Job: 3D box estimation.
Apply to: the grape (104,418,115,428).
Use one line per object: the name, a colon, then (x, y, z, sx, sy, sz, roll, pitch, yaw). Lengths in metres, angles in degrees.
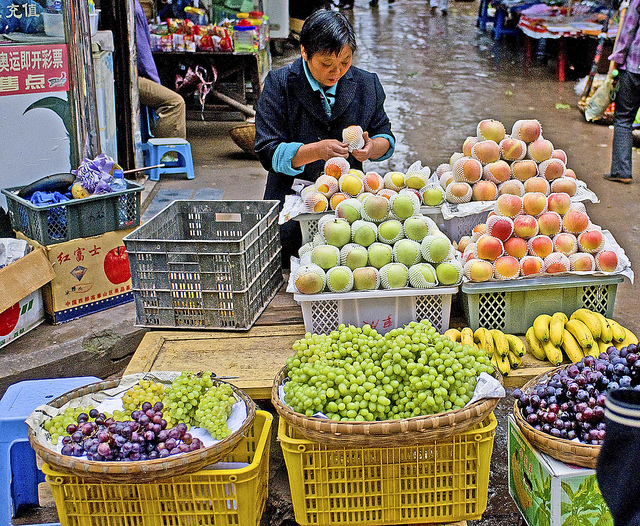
grape: (-0.847, 0.647, 2.973, 0.034, 0.031, 0.028, 2, 27, 26)

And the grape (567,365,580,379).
grape: (1.078, 0.466, 3.131, 0.032, 0.039, 0.046, -1, -12, 1)

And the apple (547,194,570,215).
apple: (1.160, -0.284, 3.613, 0.087, 0.104, 0.092, -8, 1, -21)

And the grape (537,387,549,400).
grape: (0.942, 0.556, 3.107, 0.032, 0.040, 0.045, -1, 5, -18)

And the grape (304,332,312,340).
grape: (-0.050, 0.315, 3.173, 0.021, 0.024, 0.026, -1, -10, 33)

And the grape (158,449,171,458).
grape: (-0.606, 0.746, 2.858, 0.024, 0.028, 0.032, -2, -2, -35)

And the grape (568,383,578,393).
grape: (1.045, 0.520, 3.034, 0.031, 0.021, 0.034, -14, 37, -11)

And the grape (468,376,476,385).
grape: (0.609, 0.476, 2.947, 0.019, 0.017, 0.035, -9, 23, 12)

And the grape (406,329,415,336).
grape: (0.371, 0.287, 3.020, 0.019, 0.023, 0.021, -1, 17, -1)

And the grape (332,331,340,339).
grape: (0.073, 0.307, 3.103, 0.023, 0.027, 0.025, -1, 41, 0)

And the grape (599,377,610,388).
grape: (1.170, 0.497, 3.028, 0.031, 0.031, 0.040, 0, 22, 20)

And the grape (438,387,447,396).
grape: (0.485, 0.508, 2.879, 0.021, 0.033, 0.017, 0, -17, -18)

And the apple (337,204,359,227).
apple: (0.138, -0.238, 3.582, 0.091, 0.094, 0.098, 17, 5, 12)

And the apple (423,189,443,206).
apple: (0.577, -0.332, 3.756, 0.073, 0.059, 0.074, -1, -26, 35)

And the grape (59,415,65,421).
grape: (-1.056, 0.639, 3.013, 0.015, 0.015, 0.016, 2, 0, -8)

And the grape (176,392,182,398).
grape: (-0.581, 0.546, 3.033, 0.019, 0.023, 0.020, -32, 32, 14)

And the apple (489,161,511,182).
apple: (0.919, -0.468, 3.789, 0.084, 0.097, 0.088, -23, 15, -17)

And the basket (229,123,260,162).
basket: (-0.873, -1.429, 8.342, 0.275, 0.239, 0.306, -3, 15, 9)

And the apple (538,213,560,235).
apple: (1.091, -0.184, 3.504, 0.085, 0.121, 0.097, -6, 4, 14)

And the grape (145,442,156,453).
grape: (-0.670, 0.732, 2.906, 0.034, 0.036, 0.011, 45, 7, 28)

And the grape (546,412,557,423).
grape: (0.944, 0.634, 2.999, 0.034, 0.040, 0.034, -1, 4, -1)

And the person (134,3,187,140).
person: (-1.758, -2.126, 8.125, 0.470, 1.476, 1.643, -4, 22, -10)

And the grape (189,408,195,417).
grape: (-0.529, 0.623, 3.041, 0.019, 0.023, 0.028, -2, -6, -3)

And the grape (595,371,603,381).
grape: (1.153, 0.476, 3.044, 0.026, 0.038, 0.029, -1, -3, 1)

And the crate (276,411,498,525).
crate: (0.287, 0.882, 2.942, 0.804, 0.480, 0.766, -2, 15, 2)

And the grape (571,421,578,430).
grape: (1.030, 0.661, 2.977, 0.021, 0.016, 0.025, -1, 55, 14)

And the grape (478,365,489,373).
grape: (0.665, 0.434, 2.997, 0.025, 0.014, 0.025, 14, 26, 40)

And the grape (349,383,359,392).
grape: (0.133, 0.496, 2.902, 0.019, 0.020, 0.036, 10, 55, 47)

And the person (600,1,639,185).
person: (3.020, -1.667, 7.284, 0.361, 1.765, 0.581, 8, 22, 21)

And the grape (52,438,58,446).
grape: (-1.061, 0.716, 2.930, 0.019, 0.012, 0.021, -5, 44, -10)

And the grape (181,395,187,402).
grape: (-0.561, 0.563, 3.032, 0.018, 0.030, 0.020, -2, 22, -8)

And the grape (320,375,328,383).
grape: (0.015, 0.468, 2.937, 0.023, 0.025, 0.021, 2, 1, -7)

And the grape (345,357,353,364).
grape: (0.118, 0.400, 3.007, 0.022, 0.021, 0.020, 12, -28, -22)

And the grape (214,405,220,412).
grape: (-0.420, 0.598, 3.001, 0.015, 0.017, 0.015, 1, -14, 41)

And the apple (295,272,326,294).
apple: (-0.042, 0.094, 3.326, 0.098, 0.061, 0.098, 13, 39, 11)

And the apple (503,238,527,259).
apple: (0.921, -0.070, 3.467, 0.083, 0.099, 0.087, 6, -5, 4)

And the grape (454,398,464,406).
grape: (0.547, 0.552, 2.894, 0.024, 0.027, 0.025, 20, 42, 31)

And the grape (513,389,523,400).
grape: (0.855, 0.583, 3.192, 0.038, 0.034, 0.033, -44, 35, -1)

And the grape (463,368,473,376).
grape: (0.593, 0.442, 2.947, 0.020, 0.041, 0.019, -35, -16, 22)

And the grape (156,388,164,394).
grape: (-0.683, 0.543, 3.108, 0.021, 0.015, 0.023, 0, 19, -1)

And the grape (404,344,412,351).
grape: (0.357, 0.341, 2.946, 0.018, 0.026, 0.020, -6, 18, 6)

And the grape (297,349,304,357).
grape: (-0.082, 0.382, 3.083, 0.024, 0.034, 0.026, -1, 4, 0)

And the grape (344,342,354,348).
grape: (0.118, 0.342, 3.043, 0.022, 0.022, 0.022, 17, -16, -23)

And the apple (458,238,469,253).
apple: (0.717, -0.088, 3.726, 0.046, 0.070, 0.062, 4, -28, 1)

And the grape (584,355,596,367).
grape: (1.159, 0.426, 3.162, 0.029, 0.035, 0.042, 1, 3, 7)

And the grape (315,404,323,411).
grape: (-0.003, 0.576, 2.906, 0.023, 0.021, 0.019, -21, 27, 7)

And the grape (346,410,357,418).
grape: (0.118, 0.591, 2.866, 0.025, 0.017, 0.029, -2, 16, 7)

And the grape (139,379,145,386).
grape: (-0.761, 0.514, 3.144, 0.017, 0.026, 0.018, 14, -5, -17)

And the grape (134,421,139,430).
grape: (-0.734, 0.654, 2.941, 0.019, 0.029, 0.015, 0, -8, -33)

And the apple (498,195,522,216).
apple: (0.913, -0.276, 3.543, 0.086, 0.104, 0.093, -4, 9, -11)

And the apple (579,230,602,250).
apple: (1.276, -0.105, 3.461, 0.077, 0.092, 0.084, 7, 11, 18)

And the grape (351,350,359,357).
grape: (0.142, 0.374, 3.002, 0.024, 0.029, 0.035, -1, -2, 4)

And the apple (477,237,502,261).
apple: (0.788, -0.065, 3.423, 0.093, 0.113, 0.099, 1, 6, 5)

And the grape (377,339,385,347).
grape: (0.250, 0.329, 3.011, 0.024, 0.030, 0.026, -8, 49, 46)

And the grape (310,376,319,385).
grape: (-0.022, 0.472, 2.948, 0.023, 0.020, 0.033, -1, 18, 7)

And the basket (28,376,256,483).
basket: (-0.722, 0.728, 2.969, 0.881, 0.226, 0.481, 2, 23, 5)

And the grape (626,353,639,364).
grape: (1.291, 0.404, 3.040, 0.040, 0.037, 0.031, 2, -4, -23)

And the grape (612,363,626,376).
grape: (1.234, 0.444, 3.032, 0.049, 0.039, 0.037, 9, 23, 21)

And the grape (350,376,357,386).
grape: (0.133, 0.471, 2.929, 0.020, 0.028, 0.021, 0, 5, -9)

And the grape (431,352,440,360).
grape: (0.461, 0.377, 2.930, 0.022, 0.025, 0.024, -1, 1, 0)
